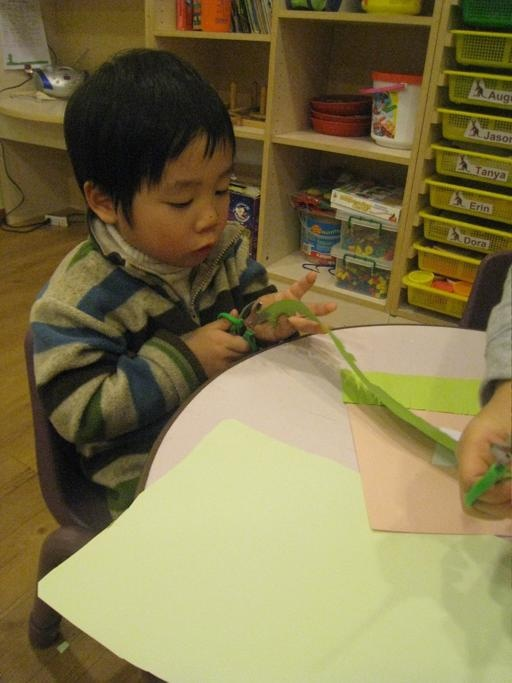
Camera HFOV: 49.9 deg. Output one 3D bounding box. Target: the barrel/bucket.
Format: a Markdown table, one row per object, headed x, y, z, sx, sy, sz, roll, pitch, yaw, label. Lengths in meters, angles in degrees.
| x | y | z | sx | sy | sz | roll | pitch | yaw | label |
| --- | --- | --- | --- | --- | --- | --- | --- | --- | --- |
| 0.393 | -0.686 | 1.622 | 0.217 | 0.209 | 0.205 | 2 | 31 | -1 | barrel/bucket |

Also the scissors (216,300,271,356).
| x | y | z | sx | sy | sz | roll | pitch | yaw | label |
| --- | --- | --- | --- | --- | --- | --- | --- | --- | --- |
| -0.028 | -0.028 | 0.795 | 0.076 | 0.071 | 0.027 | 15 | -8 | -16 | scissors |

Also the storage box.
| x | y | z | sx | sy | sz | roll | pitch | yaw | label |
| --- | --- | --- | --- | --- | --- | --- | --- | --- | --- |
| 0.297 | -0.281 | 1.721 | 0.181 | 0.198 | 0.303 | -27 | 43 | -34 | storage box |
